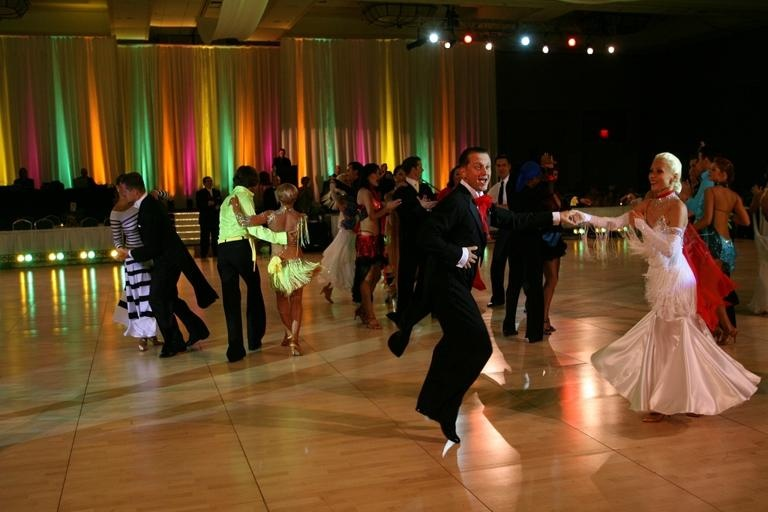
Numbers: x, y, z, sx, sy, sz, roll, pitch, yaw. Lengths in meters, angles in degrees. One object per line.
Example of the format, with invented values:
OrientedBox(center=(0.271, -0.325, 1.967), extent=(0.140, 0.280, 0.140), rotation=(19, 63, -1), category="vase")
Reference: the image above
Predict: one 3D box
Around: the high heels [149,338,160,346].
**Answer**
OrientedBox(center=(-2.608, 0.970, 6.895), extent=(0.080, 0.086, 0.230), rotation=(0, -3, 2), category="high heels")

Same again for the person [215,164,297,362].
OrientedBox(center=(-1.455, 0.063, 6.294), extent=(0.537, 1.965, 0.592), rotation=(-5, 9, -20), category="person")

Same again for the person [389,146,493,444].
OrientedBox(center=(0.445, 0.281, 4.314), extent=(0.629, 2.050, 0.452), rotation=(0, 9, 8), category="person")

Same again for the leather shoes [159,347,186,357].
OrientedBox(center=(-2.243, 1.013, 6.401), extent=(0.094, 0.081, 0.268), rotation=(-2, -5, 42), category="leather shoes")

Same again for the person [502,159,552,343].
OrientedBox(center=(1.568, -0.054, 6.616), extent=(0.414, 1.923, 0.591), rotation=(-5, 9, -22), category="person")

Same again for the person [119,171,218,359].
OrientedBox(center=(-2.327, 0.078, 6.427), extent=(0.899, 1.909, 0.460), rotation=(-6, 9, -26), category="person")

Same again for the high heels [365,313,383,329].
OrientedBox(center=(-0.136, 0.796, 7.387), extent=(0.174, 0.130, 0.454), rotation=(0, -1, -7), category="high heels")

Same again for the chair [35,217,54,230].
OrientedBox(center=(-8.233, -0.768, 14.634), extent=(0.413, 0.271, 0.414), rotation=(-5, -2, -29), category="chair")

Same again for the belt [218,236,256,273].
OrientedBox(center=(-1.511, -0.029, 6.255), extent=(0.350, 0.283, 0.313), rotation=(-5, 6, -22), category="belt")

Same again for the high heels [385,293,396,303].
OrientedBox(center=(0.096, 0.621, 8.838), extent=(0.126, 0.127, 0.226), rotation=(-2, -5, 8), category="high heels")

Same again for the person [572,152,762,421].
OrientedBox(center=(2.135, 0.226, 4.538), extent=(1.164, 1.963, 0.636), rotation=(1, 9, 17), category="person")

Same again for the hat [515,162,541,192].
OrientedBox(center=(1.573, -0.868, 6.583), extent=(0.265, 0.303, 0.242), rotation=(0, 9, 13), category="hat")

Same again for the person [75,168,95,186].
OrientedBox(center=(-8.046, -2.099, 16.123), extent=(0.491, 0.488, 1.197), rotation=(-6, 10, -26), category="person")
